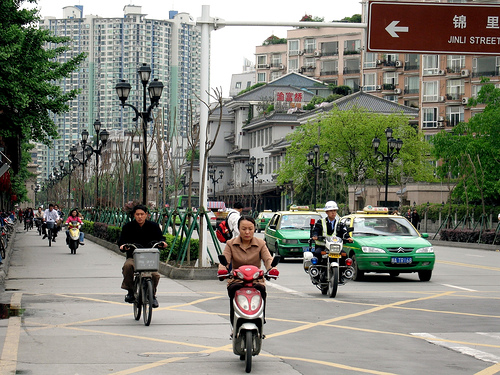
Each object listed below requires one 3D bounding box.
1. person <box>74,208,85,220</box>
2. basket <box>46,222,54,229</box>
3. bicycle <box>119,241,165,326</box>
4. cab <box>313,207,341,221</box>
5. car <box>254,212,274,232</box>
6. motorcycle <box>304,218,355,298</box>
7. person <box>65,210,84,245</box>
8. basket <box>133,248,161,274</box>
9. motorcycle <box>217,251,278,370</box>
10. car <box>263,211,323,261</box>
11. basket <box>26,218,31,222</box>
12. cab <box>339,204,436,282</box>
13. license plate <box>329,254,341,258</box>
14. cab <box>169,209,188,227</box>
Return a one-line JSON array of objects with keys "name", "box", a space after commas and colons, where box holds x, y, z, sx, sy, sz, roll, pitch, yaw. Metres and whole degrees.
[{"name": "person", "box": [-9.421, 1.406, 47.533, 0.268, 1.019, 0.300, -16, -33, -7]}, {"name": "basket", "box": [-9.712, 1.797, 41.804, 0.305, 0.384, 0.216, -3, -1, -41]}, {"name": "bicycle", "box": [-2.290, 2.147, 17.594, 0.614, 0.908, 1.461, 2, -4, -14]}, {"name": "cab", "box": [3.722, 1.372, 44.146, 1.040, 0.960, 1.813, 0, -5, -17]}, {"name": "car", "box": [0.779, 2.061, 55.479, 0.874, 0.821, 2.115, 0, 1, -2]}, {"name": "motorcycle", "box": [1.941, 1.814, 21.409, 1.196, 1.758, 1.182, 1, -1, 4]}, {"name": "person", "box": [-7.404, 1.488, 36.681, 0.793, 0.944, 1.434, -2, -4, -12]}, {"name": "basket", "box": [-2.089, 1.461, 17.389, 0.376, 0.391, 0.525, 0, -2, -3]}, {"name": "motorcycle", "box": [-0.133, 2.050, 14.304, 0.766, 1.832, 1.022, 1, -1, -1]}, {"name": "car", "box": [1.381, 1.654, 31.741, 1.405, 1.084, 2.399, 0, -2, -17]}, {"name": "basket", "box": [-17.638, 2.510, 68.187, 0.313, 0.324, 0.576, 5, 4, -4]}, {"name": "cab", "box": [3.905, 1.683, 24.737, 1.638, 1.724, 4.117, 0, -1, -3]}, {"name": "license plate", "box": [2.069, 1.655, 21.001, 0.351, 0.061, 0.087, 4, -19, 14]}, {"name": "cab", "box": [-5.541, 2.025, 66.115, 1.825, 1.621, 3.214, 1, 7, -5]}]
